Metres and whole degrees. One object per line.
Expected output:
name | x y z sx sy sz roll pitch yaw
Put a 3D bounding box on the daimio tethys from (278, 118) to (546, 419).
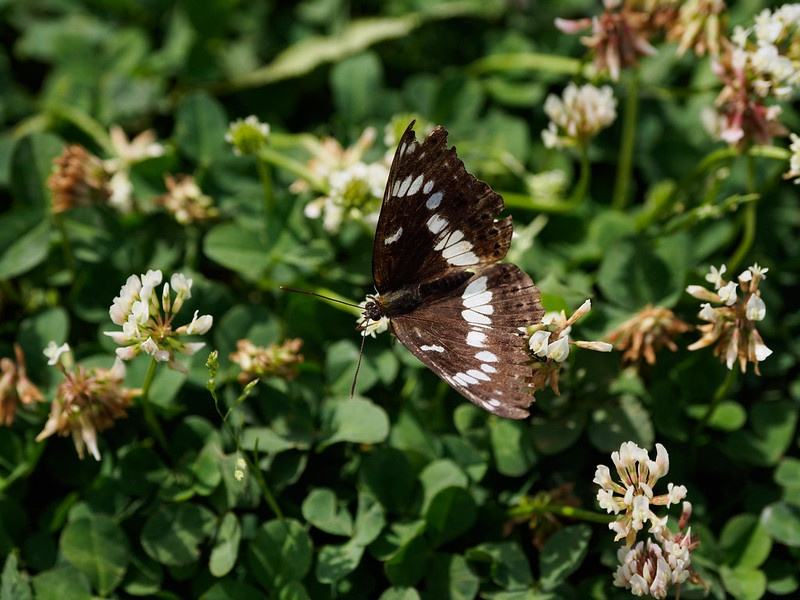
daimio tethys | 0.121 -0.045 1.732 0.386 0.298 0.570 14 59 1
